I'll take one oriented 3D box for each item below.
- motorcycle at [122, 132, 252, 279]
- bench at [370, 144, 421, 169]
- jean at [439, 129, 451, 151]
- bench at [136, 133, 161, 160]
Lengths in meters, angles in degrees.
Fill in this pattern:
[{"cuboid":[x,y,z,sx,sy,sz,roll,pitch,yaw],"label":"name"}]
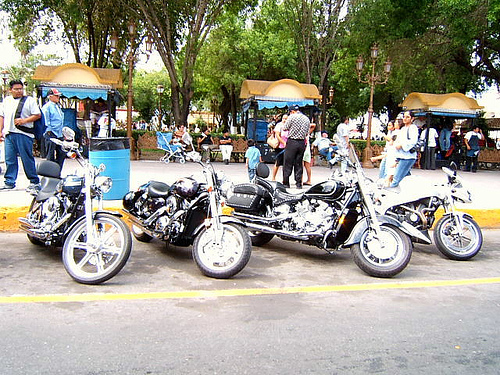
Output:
[{"cuboid":[-0.675,0.277,6.570,2.701,1.709,1.092,17,7,43],"label":"motorcycle"},{"cuboid":[8.615,-2.039,24.817,3.407,1.329,2.602,0,4,7],"label":"bench"},{"cuboid":[10.953,-2.738,24.194,0.214,0.955,0.898,4,3,-24],"label":"jean"},{"cuboid":[-5.777,-2.275,24.218,1.311,1.965,1.476,-1,2,-22],"label":"bench"}]
